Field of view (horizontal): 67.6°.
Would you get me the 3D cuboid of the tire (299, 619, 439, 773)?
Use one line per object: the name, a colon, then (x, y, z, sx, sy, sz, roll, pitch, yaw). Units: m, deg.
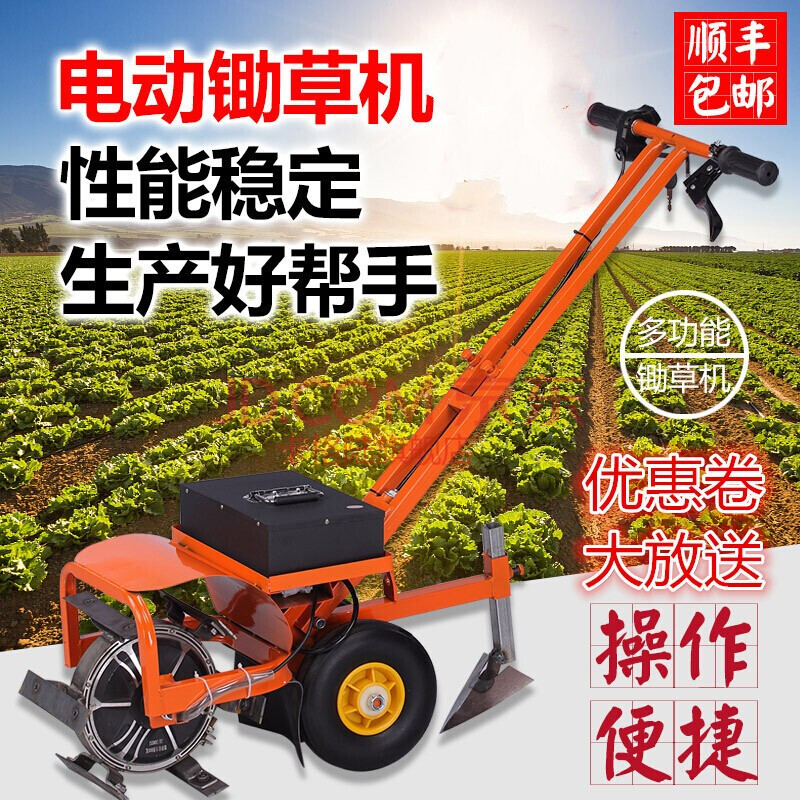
tire: (-0.125, 1.200, 2.435, 0.589, 0.604, 0.124, -1, 2, -36)

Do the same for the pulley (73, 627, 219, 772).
pulley: (-0.951, 1.156, 2.263, 0.207, 0.656, 0.493, 1, 2, 40)
